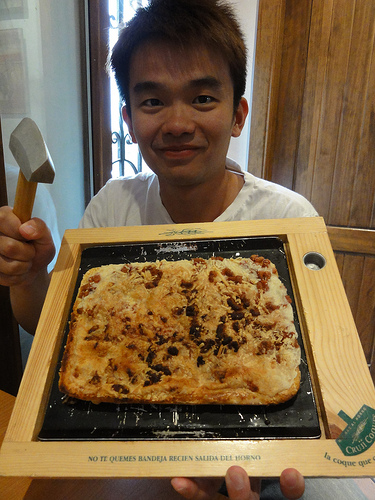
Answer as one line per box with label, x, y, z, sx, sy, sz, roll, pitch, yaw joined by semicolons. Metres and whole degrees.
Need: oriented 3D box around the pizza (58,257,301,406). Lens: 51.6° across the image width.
pizza;-0.009;0.163;0.863;0.451;0.128;0.324;-4;60;5
